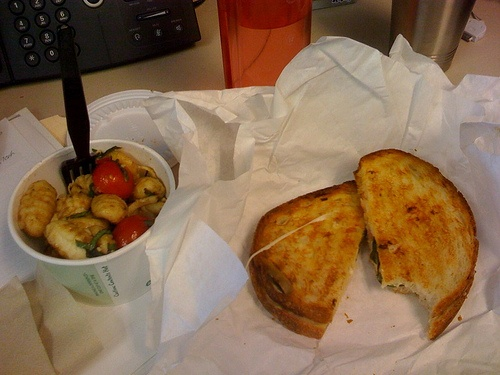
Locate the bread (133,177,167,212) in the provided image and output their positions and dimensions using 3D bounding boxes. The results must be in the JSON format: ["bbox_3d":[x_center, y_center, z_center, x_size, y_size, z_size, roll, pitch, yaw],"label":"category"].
[{"bbox_3d":[-0.239,0.013,0.899,0.070,0.023,0.076,-6,83,4],"label":"bread"}]

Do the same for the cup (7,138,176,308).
[{"bbox_3d":[-0.339,0.074,1.021,0.352,0.282,0.424,0,61,9],"label":"cup"}]

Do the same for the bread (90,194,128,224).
[{"bbox_3d":[-0.317,0.050,0.859,0.066,0.020,0.067,25,47,-19],"label":"bread"}]

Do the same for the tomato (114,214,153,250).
[{"bbox_3d":[-0.260,0.090,0.835,0.091,0.025,0.072,-32,53,-20],"label":"tomato"}]

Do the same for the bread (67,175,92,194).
[{"bbox_3d":[-0.412,-0.007,0.924,0.053,0.017,0.046,-21,81,6],"label":"bread"}]

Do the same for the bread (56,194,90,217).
[{"bbox_3d":[-0.421,0.054,0.901,0.058,0.019,0.052,-25,53,-13],"label":"bread"}]

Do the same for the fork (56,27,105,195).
[{"bbox_3d":[-0.410,-0.183,0.882,0.092,0.366,0.017,-15,32,-35],"label":"fork"}]

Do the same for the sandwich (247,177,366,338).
[{"bbox_3d":[0.141,0.140,0.944,0.258,0.172,0.369,15,52,18],"label":"sandwich"}]

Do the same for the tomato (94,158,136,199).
[{"bbox_3d":[-0.338,-0.019,0.945,0.084,0.091,0.086,8,23,-49],"label":"tomato"}]
